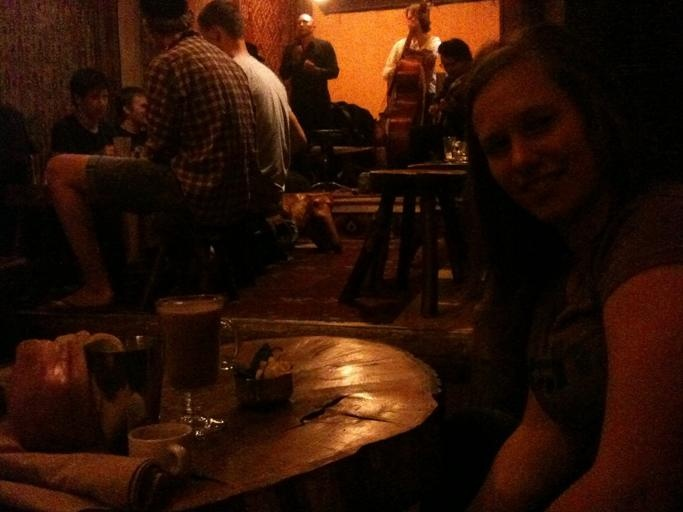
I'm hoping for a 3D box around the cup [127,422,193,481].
[{"bbox_3d":[-0.270,0.290,0.880,0.087,0.049,0.101,-6,9,-27],"label":"cup"}]

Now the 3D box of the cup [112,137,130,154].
[{"bbox_3d":[-1.266,-0.615,3.308,0.096,0.111,0.098,9,8,-1],"label":"cup"}]

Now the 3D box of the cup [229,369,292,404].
[{"bbox_3d":[-0.149,0.233,1.088,0.082,0.038,0.062,-2,2,-26],"label":"cup"}]

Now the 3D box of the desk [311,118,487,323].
[{"bbox_3d":[0.352,-0.191,3.510,0.862,0.969,0.876,-1,14,5],"label":"desk"}]
